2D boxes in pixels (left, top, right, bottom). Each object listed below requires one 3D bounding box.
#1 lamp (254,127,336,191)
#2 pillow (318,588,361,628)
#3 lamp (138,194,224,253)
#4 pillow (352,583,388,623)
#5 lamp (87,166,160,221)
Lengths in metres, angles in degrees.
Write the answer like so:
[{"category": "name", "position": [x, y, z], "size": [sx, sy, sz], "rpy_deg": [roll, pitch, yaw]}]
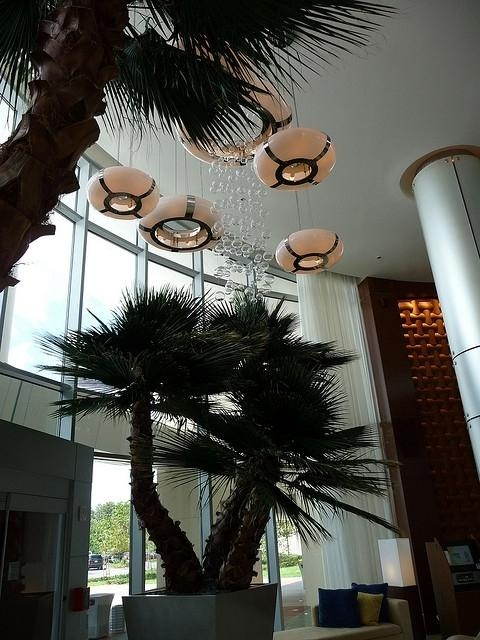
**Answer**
[{"category": "lamp", "position": [0.464, -1.366, 3.499], "size": [0.583, 0.230, 0.605], "rpy_deg": [1, -19, -5]}, {"category": "pillow", "position": [1.324, 3.855, 5.452], "size": [0.417, 0.394, 0.146], "rpy_deg": [-12, -42, 22]}, {"category": "lamp", "position": [-0.631, -1.000, 4.345], "size": [0.604, 0.219, 0.621], "rpy_deg": [3, -13, -10]}, {"category": "pillow", "position": [1.757, 3.880, 5.574], "size": [0.184, 0.365, 0.350], "rpy_deg": [-22, -36, 38]}, {"category": "lamp", "position": [-1.127, -1.304, 4.054], "size": [0.653, 0.257, 0.660], "rpy_deg": [-1, 0, -26]}]
